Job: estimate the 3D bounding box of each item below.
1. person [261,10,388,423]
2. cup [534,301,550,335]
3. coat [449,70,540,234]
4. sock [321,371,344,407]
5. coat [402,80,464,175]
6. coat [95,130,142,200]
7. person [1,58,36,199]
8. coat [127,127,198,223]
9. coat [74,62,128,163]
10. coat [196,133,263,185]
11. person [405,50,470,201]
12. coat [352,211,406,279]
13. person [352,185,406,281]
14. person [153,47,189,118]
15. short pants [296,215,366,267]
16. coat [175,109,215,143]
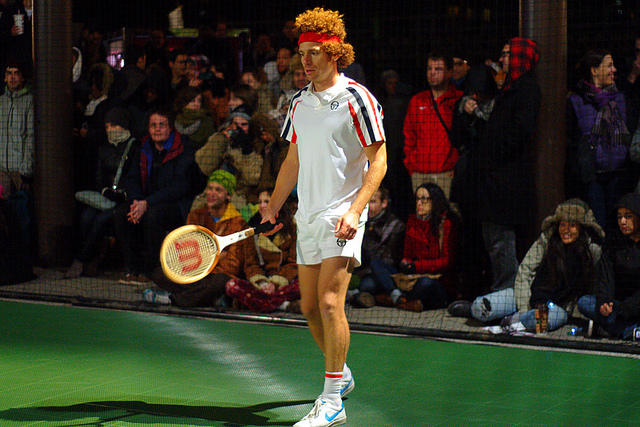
[{"bbox_3d":[0.040,0.013,8.518,1.089,3.955,0.630,3,4,26],"label":"person"},{"bbox_3d":[2.742,1.301,10.872,0.177,0.338,0.143,2,4,14],"label":"cup"},{"bbox_3d":[2.293,-0.805,11.540,1.099,2.066,0.259,2,4,12],"label":"coat"},{"bbox_3d":[0.114,1.673,8.430,0.189,0.337,0.143,1,4,4],"label":"sock"},{"bbox_3d":[1.551,-1.119,11.788,1.138,1.665,0.580,1,5,12],"label":"coat"},{"bbox_3d":[-3.000,-0.751,13.317,0.580,1.067,0.404,0,-9,24],"label":"coat"},{"bbox_3d":[-4.697,-1.383,13.604,0.607,1.975,0.271,2,4,16],"label":"person"},{"bbox_3d":[-2.163,-0.526,12.966,0.899,1.471,0.489,16,-11,27],"label":"coat"},{"bbox_3d":[-3.568,-1.475,13.755,0.603,1.908,0.666,18,15,6],"label":"coat"},{"bbox_3d":[-1.277,-0.774,12.428,1.069,0.710,0.208,4,4,33],"label":"coat"},{"bbox_3d":[1.561,-1.175,11.774,0.827,1.964,0.242,1,4,3],"label":"person"},{"bbox_3d":[0.840,0.466,11.852,0.654,0.940,0.315,10,4,26],"label":"coat"},{"bbox_3d":[0.736,0.333,12.002,0.842,1.363,0.686,-8,-20,20],"label":"person"},{"bbox_3d":[-2.178,-1.961,12.890,0.259,0.911,0.368,-17,13,9],"label":"person"},{"bbox_3d":[0.122,0.243,8.615,0.712,0.542,0.455,-8,-21,31],"label":"short pants"},{"bbox_3d":[-1.744,-1.310,12.779,0.576,0.280,0.657,-10,-28,-46],"label":"coat"}]
